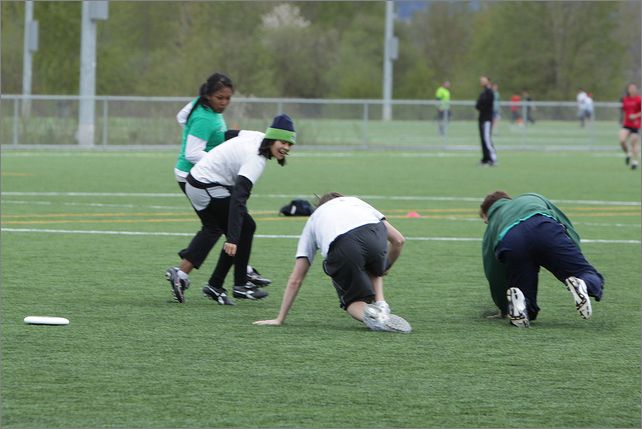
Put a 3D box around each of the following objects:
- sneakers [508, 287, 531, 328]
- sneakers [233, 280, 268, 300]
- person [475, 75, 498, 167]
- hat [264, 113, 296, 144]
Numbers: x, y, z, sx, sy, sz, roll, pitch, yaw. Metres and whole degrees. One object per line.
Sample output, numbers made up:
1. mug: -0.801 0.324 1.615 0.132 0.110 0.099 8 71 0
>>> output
1. sneakers: 2.671 1.274 14.337 0.246 0.556 0.260 -5 -3 4
2. sneakers: -1.022 1.104 15.210 0.563 0.243 0.202 0 2 -4
3. person: 4.063 -2.303 25.891 0.510 2.200 1.092 -2 5 9
4. hat: -0.574 -1.227 14.724 0.456 0.314 0.309 9 17 -13
